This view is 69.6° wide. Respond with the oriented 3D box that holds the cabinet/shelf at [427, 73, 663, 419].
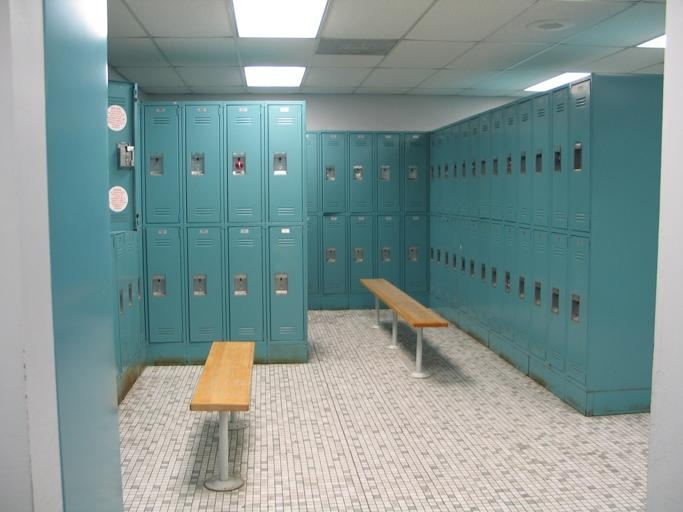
[{"bbox_3d":[2.200,-0.360,6.424,0.898,3.066,4.400,-5,9,-9],"label":"cabinet/shelf"}]
